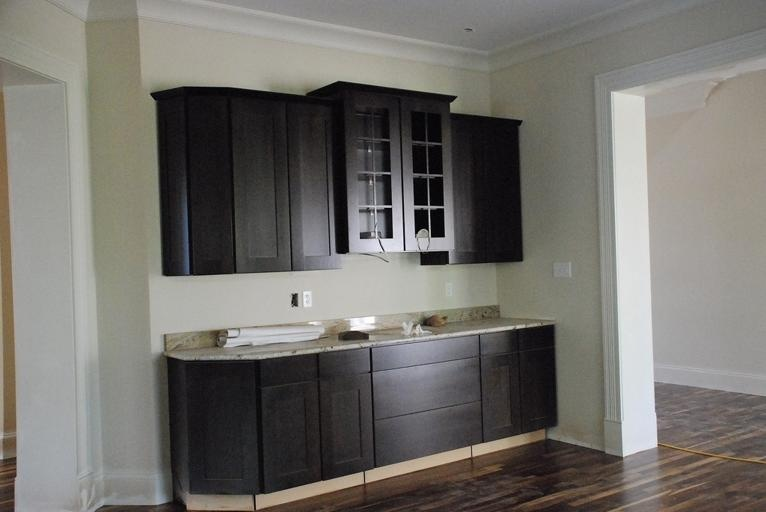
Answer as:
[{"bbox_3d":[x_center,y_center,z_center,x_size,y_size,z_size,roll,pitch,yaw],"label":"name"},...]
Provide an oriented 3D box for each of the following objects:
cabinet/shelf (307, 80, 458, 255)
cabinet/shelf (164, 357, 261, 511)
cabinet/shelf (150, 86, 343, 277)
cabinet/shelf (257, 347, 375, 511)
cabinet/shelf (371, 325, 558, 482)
[{"bbox_3d":[-0.050,-0.782,5.511,1.683,1.792,0.541,1,-5,-33],"label":"cabinet/shelf"},{"bbox_3d":[-1.383,1.356,4.840,0.807,1.055,0.240,-1,7,16],"label":"cabinet/shelf"},{"bbox_3d":[-1.200,-0.616,5.093,1.742,1.584,0.652,0,-3,-33],"label":"cabinet/shelf"},{"bbox_3d":[-0.583,1.409,4.940,1.255,1.334,0.698,2,-7,-35],"label":"cabinet/shelf"},{"bbox_3d":[0.678,1.347,5.488,1.366,0.632,0.384,0,-3,-33],"label":"cabinet/shelf"}]
